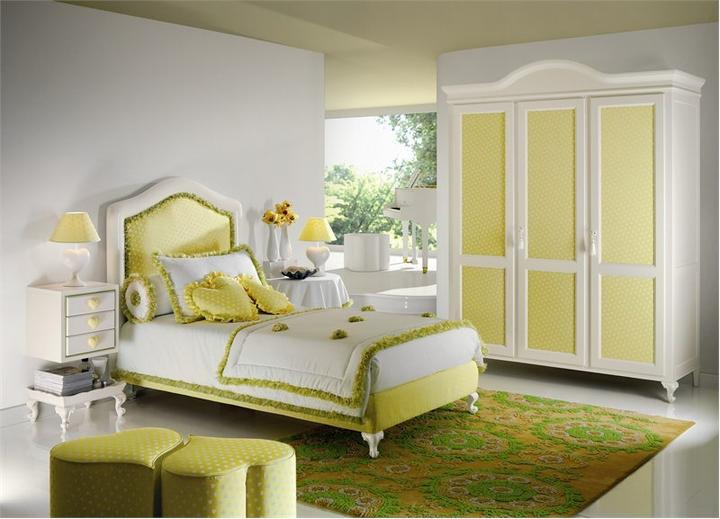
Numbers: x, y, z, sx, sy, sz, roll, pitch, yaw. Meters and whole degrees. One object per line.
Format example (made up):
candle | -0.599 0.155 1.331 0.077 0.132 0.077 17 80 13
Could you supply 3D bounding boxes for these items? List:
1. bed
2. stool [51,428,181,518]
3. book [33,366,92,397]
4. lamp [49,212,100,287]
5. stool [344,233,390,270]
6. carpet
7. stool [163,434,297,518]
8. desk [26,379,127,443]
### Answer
bed | -0.600 0.241 4.557 3.050 1.833 2.032 3 6 31
stool | -1.118 0.988 2.287 0.529 0.298 0.270 0 3 6
book | -2.271 0.942 3.932 0.271 0.087 0.269 4 5 36
lamp | -2.294 -0.091 4.026 0.350 0.578 0.424 -3 4 -29
stool | 0.148 -0.182 10.876 0.897 0.596 0.859 0 5 0
carpet | 0.854 1.270 3.304 2.641 0.036 1.550 -2 3 -23
stool | -0.623 0.903 2.227 0.437 0.187 0.377 3 -4 -42
desk | -2.319 1.143 3.989 0.398 0.244 0.519 2 4 31
